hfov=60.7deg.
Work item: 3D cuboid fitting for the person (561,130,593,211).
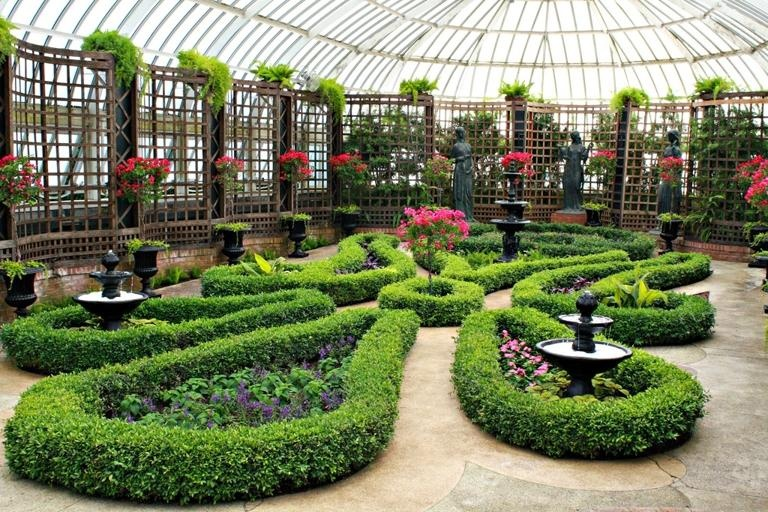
[{"bbox_3d":[6.032,-2.696,20.723,0.832,2.512,0.531,-1,5,-2],"label":"person"}]

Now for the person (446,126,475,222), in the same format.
[{"bbox_3d":[2.245,-2.364,18.906,0.588,2.627,1.008,0,5,5],"label":"person"}]

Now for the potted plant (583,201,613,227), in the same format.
[{"bbox_3d":[6.702,-1.357,20.510,0.775,0.813,0.829,2,5,21],"label":"potted plant"}]

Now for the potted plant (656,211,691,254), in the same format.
[{"bbox_3d":[7.433,-0.633,16.978,0.602,1.016,1.247,2,6,24],"label":"potted plant"}]

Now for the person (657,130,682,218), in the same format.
[{"bbox_3d":[7.708,-2.265,17.632,0.572,2.231,0.940,2,6,23],"label":"person"}]
